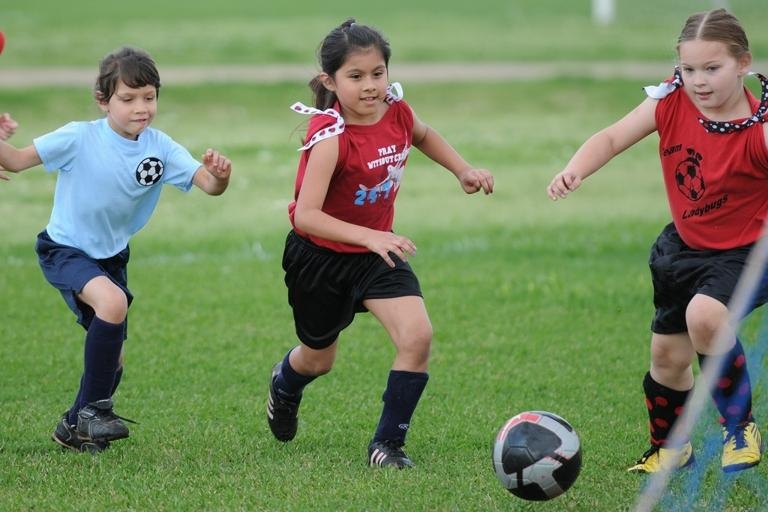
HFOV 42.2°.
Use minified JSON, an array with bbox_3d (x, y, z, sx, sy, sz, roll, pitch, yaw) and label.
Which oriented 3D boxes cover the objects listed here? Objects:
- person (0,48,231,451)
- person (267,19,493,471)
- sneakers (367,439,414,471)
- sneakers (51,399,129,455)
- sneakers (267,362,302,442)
[{"bbox_3d":[-1.634,0.154,5.918,1.157,1.978,0.687,-3,18,-23],"label":"person"},{"bbox_3d":[-0.118,-0.072,5.852,1.063,2.531,0.925,6,16,4],"label":"person"},{"bbox_3d":[0.037,1.171,5.769,0.132,0.100,0.250,1,-6,-37],"label":"sneakers"},{"bbox_3d":[-1.730,1.018,5.879,0.576,0.273,0.207,-12,-14,31],"label":"sneakers"},{"bbox_3d":[-0.637,0.891,6.150,0.185,0.521,0.250,0,3,-14],"label":"sneakers"}]
